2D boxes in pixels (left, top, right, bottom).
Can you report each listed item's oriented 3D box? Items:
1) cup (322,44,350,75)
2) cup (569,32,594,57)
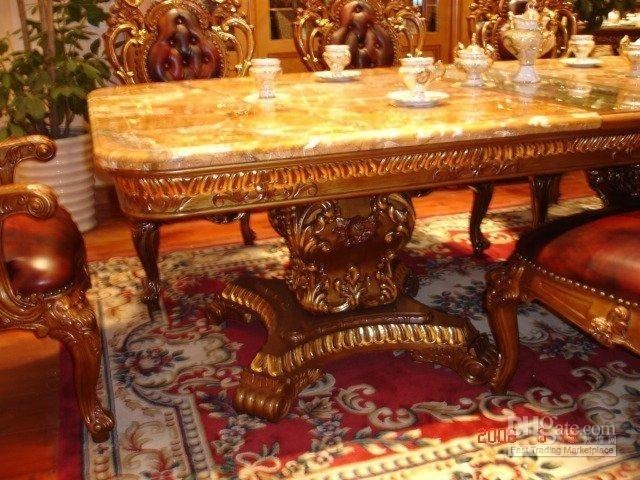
[{"bbox_3d":[0.041,-0.729,2.028,0.147,0.107,0.125,-1,24,-1],"label":"cup"},{"bbox_3d":[1.185,-0.892,2.317,0.149,0.116,0.128,7,29,22],"label":"cup"}]
